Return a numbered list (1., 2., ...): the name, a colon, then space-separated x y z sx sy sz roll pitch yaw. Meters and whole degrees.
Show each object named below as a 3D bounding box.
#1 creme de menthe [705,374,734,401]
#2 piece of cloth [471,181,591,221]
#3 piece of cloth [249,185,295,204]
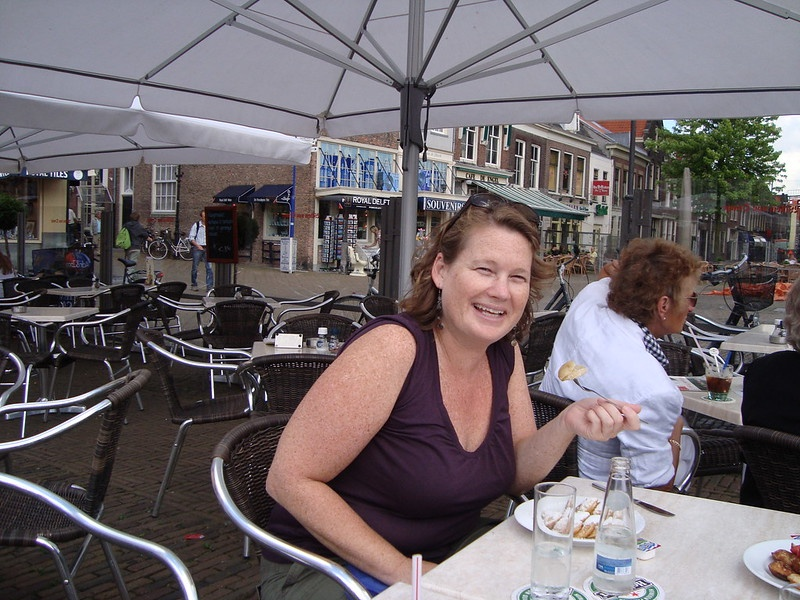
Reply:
1. creme de menthe: 1.848 0.499 3.583 0.168 0.133 0.142 1 -3 9
2. piece of cloth: 7.492 -5.351 33.815 3.511 1.513 7.649 10 9 37
3. piece of cloth: -6.051 -5.143 29.259 2.301 0.906 0.951 0 -5 34
